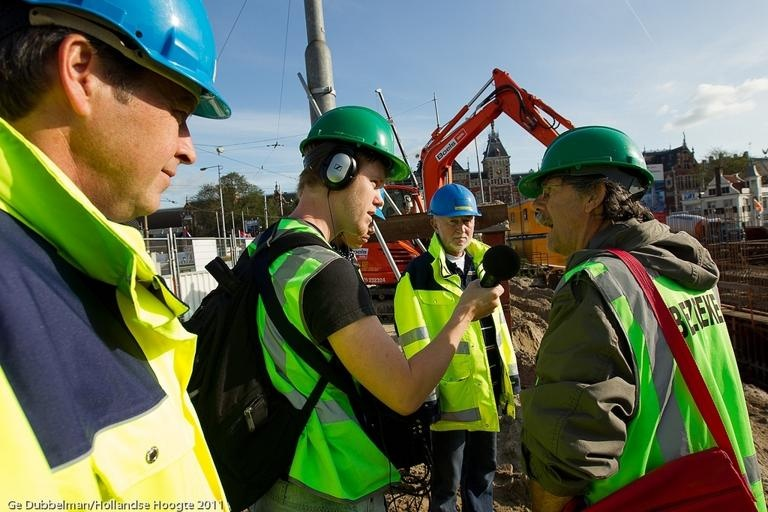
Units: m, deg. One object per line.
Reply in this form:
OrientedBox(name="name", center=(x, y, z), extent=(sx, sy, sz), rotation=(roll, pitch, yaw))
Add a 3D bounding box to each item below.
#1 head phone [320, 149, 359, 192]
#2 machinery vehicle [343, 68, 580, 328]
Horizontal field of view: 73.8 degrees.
OrientedBox(name="head phone", center=(-0.203, -0.460, 2.507), extent=(0.182, 0.159, 0.067), rotation=(-5, -13, 36))
OrientedBox(name="machinery vehicle", center=(1.551, -1.373, 10.314), extent=(5.239, 4.542, 1.677), rotation=(-8, -20, 40))
